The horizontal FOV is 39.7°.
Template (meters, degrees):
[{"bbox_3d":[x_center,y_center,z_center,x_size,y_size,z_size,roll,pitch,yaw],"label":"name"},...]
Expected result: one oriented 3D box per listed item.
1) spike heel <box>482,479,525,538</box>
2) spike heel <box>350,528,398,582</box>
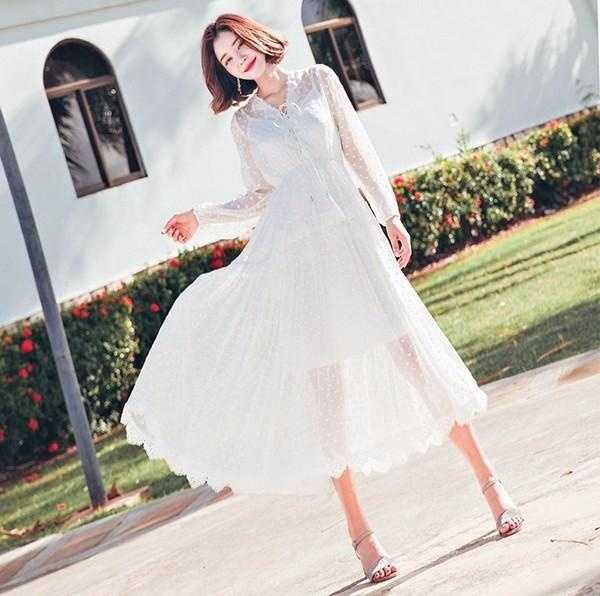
[{"bbox_3d":[0.923,0.952,3.754,0.138,0.281,0.126,-18,-1,7],"label":"spike heel"},{"bbox_3d":[0.336,1.194,3.811,0.098,0.121,0.297,-24,5,-9],"label":"spike heel"}]
